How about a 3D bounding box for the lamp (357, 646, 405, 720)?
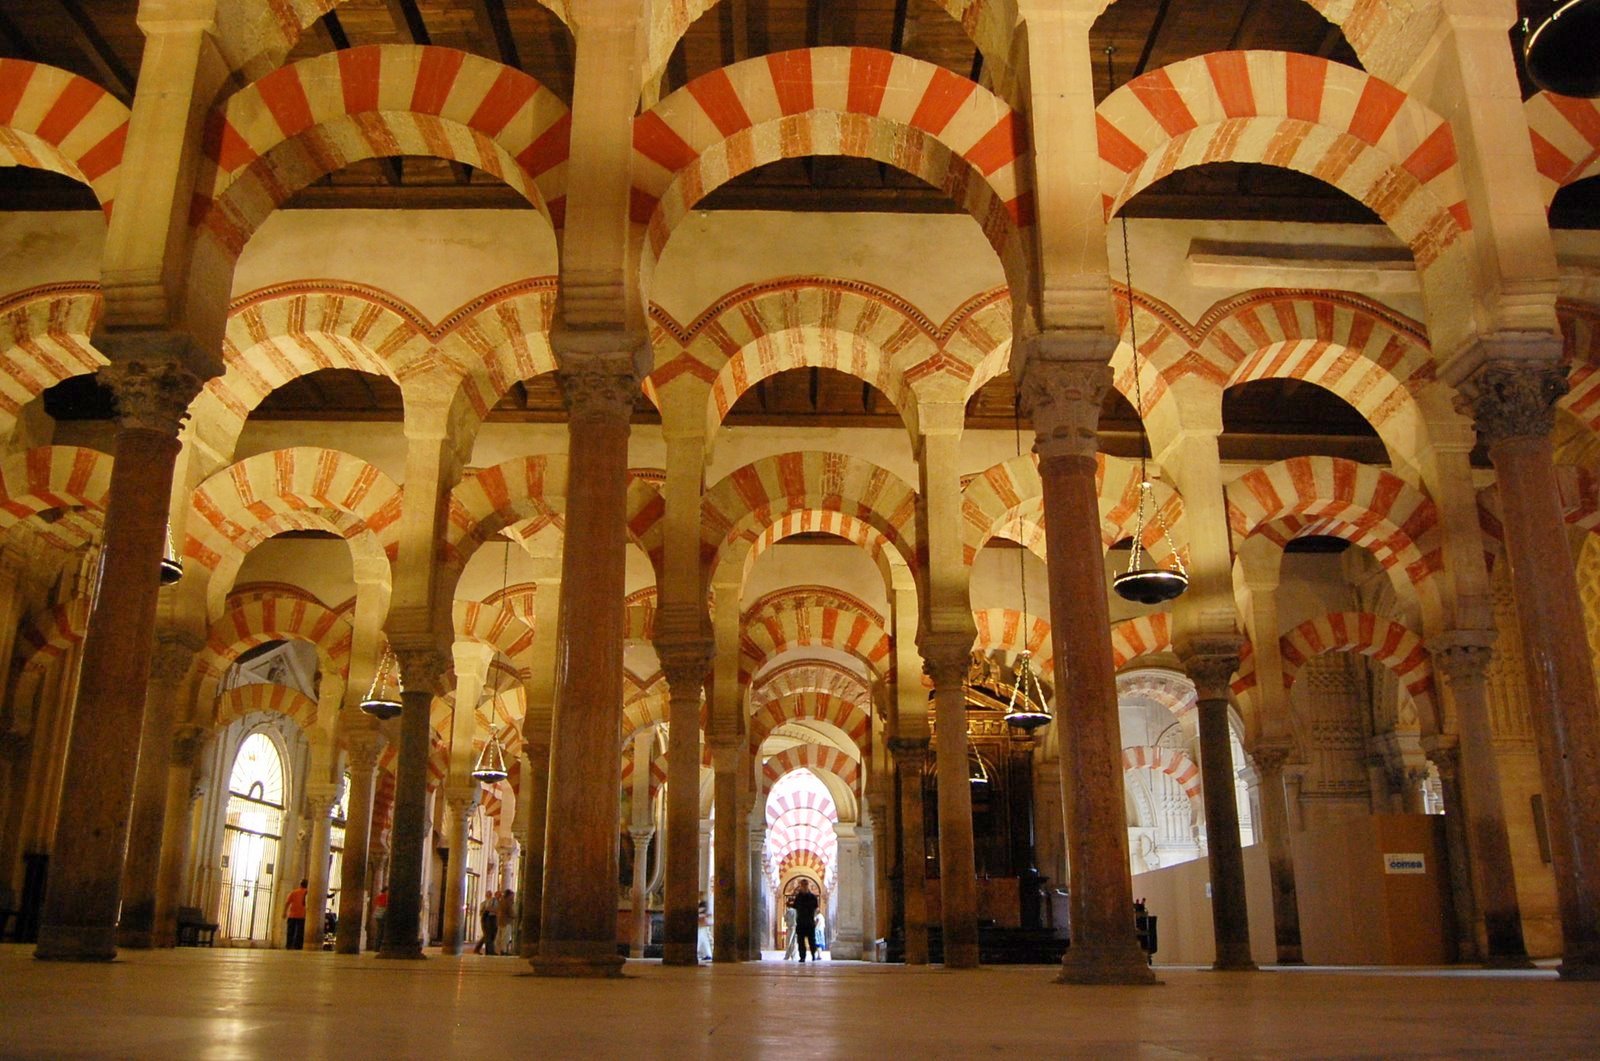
[{"bbox_3d":[-5.194,1.909,15.409,0.456,1.055,1.691,8,-25,-18],"label":"lamp"}]
